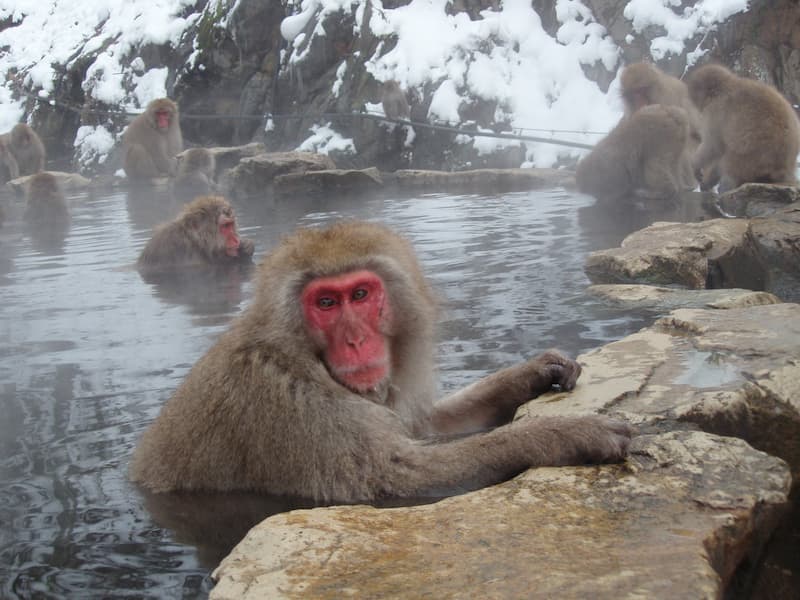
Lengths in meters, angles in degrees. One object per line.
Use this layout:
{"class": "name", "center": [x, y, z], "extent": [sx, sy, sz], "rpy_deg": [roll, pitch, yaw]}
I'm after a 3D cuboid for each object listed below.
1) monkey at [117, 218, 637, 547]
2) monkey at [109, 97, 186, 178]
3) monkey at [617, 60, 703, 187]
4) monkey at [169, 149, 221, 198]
{"class": "monkey", "center": [-0.330, 0.453, 8.889], "extent": [3.575, 2.143, 1.102], "rpy_deg": [0, 6, 9]}
{"class": "monkey", "center": [-5.099, -3.346, 22.978], "extent": [1.269, 1.777, 1.168], "rpy_deg": [17, 26, 42]}
{"class": "monkey", "center": [4.074, -2.803, 17.406], "extent": [1.201, 1.906, 1.114], "rpy_deg": [4, 15, 14]}
{"class": "monkey", "center": [-3.966, -2.468, 21.339], "extent": [0.896, 1.097, 0.903], "rpy_deg": [13, 24, 34]}
